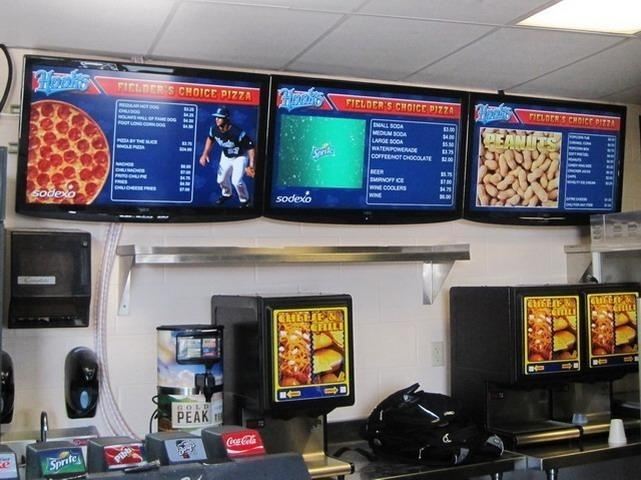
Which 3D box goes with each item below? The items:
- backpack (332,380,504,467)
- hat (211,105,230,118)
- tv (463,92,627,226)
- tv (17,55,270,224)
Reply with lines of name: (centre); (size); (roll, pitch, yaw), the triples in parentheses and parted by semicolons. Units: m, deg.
backpack: (0.546, 0.844, 2.819); (0.421, 0.235, 0.557); (5, -11, -41)
hat: (-0.494, -0.631, 2.783); (0.068, 0.038, 0.047); (1, 8, -42)
tv: (1.296, -0.483, 3.391); (0.842, 0.564, 0.108); (3, -2, -16)
tv: (-0.880, -0.479, 2.679); (0.860, 0.554, 0.082); (3, 0, -23)
